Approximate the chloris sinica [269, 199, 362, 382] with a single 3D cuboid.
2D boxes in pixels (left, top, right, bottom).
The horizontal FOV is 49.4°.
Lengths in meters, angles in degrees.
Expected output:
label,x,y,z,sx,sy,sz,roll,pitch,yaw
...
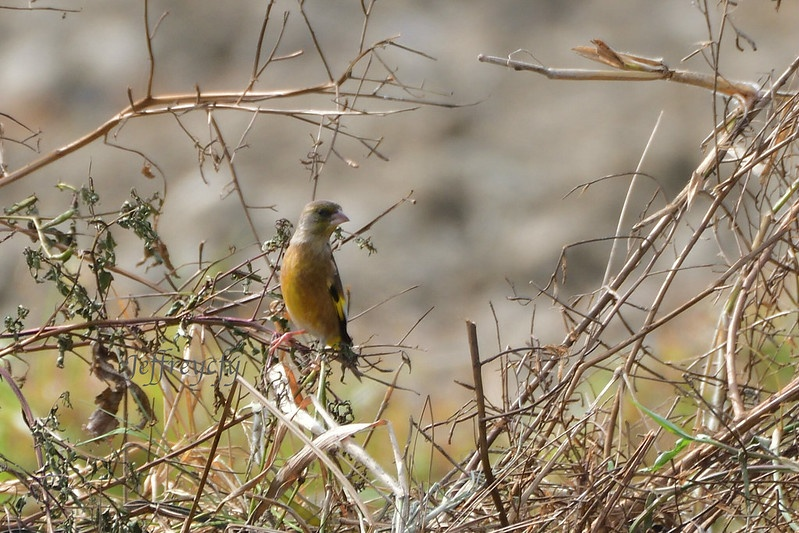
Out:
label,x,y,z,sx,sy,sz,roll,pitch,yaw
chloris sinica,-0.634,0.081,6.542,0.534,0.987,0.883,-3,-56,-9
